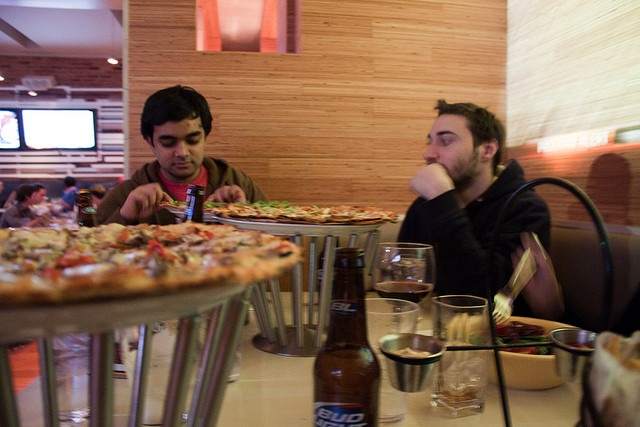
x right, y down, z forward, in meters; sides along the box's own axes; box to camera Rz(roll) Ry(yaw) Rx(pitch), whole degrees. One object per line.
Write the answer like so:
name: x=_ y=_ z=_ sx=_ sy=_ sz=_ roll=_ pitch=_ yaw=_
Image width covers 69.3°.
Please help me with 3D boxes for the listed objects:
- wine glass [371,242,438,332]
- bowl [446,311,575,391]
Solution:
wine glass: x=0.199 y=0.158 z=1.072 sx=0.229 sy=0.169 sz=0.195 roll=1 pitch=5 yaw=18
bowl: x=0.395 y=0.256 z=0.930 sx=0.203 sy=0.042 sz=0.163 roll=-1 pitch=2 yaw=-4
